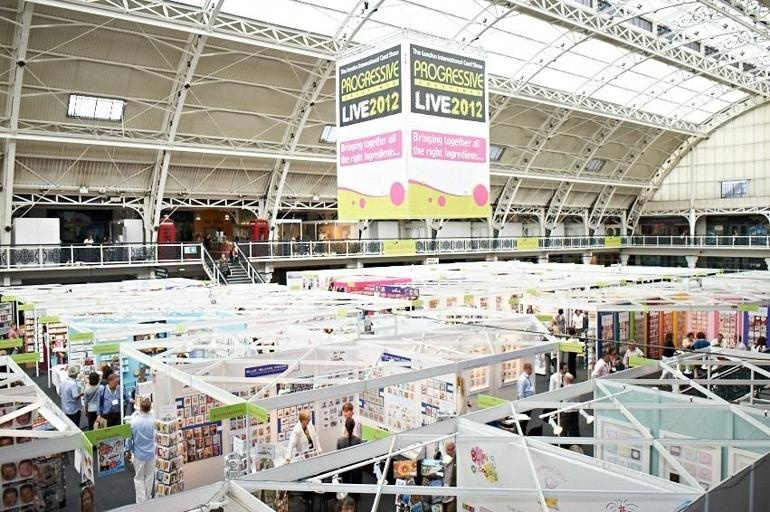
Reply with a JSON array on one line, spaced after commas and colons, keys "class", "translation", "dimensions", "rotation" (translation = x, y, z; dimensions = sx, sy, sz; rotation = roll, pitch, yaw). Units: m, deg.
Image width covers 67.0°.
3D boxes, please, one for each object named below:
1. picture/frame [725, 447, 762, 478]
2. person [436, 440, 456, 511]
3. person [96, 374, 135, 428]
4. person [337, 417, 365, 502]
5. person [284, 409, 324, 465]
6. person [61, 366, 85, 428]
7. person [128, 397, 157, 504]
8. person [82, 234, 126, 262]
[{"class": "picture/frame", "translation": [6.018, 3.495, 9.744], "dimensions": [0.096, 0.499, 0.521], "rotation": [0, 0, -40]}, {"class": "person", "translation": [1.106, 3.881, 10.090], "dimensions": [0.229, 1.282, 0.578], "rotation": [-1, 0, 8]}, {"class": "person", "translation": [-5.999, 3.127, 12.666], "dimensions": [0.515, 1.066, 0.610], "rotation": [0, 0, -28]}, {"class": "person", "translation": [-0.734, 3.797, 11.201], "dimensions": [0.440, 1.506, 0.417], "rotation": [-1, 24, -13]}, {"class": "person", "translation": [-1.580, 3.436, 11.211], "dimensions": [0.592, 0.974, 0.773], "rotation": [-1, 0, 3]}, {"class": "person", "translation": [-7.171, 3.323, 13.311], "dimensions": [0.440, 1.527, 1.362], "rotation": [0, 0, -28]}, {"class": "person", "translation": [-4.640, 3.834, 11.133], "dimensions": [0.480, 1.725, 0.334], "rotation": [0, -1, -23]}, {"class": "person", "translation": [-12.720, -0.084, 26.276], "dimensions": [1.914, 0.804, 0.443], "rotation": [-1, 0, -24]}]
